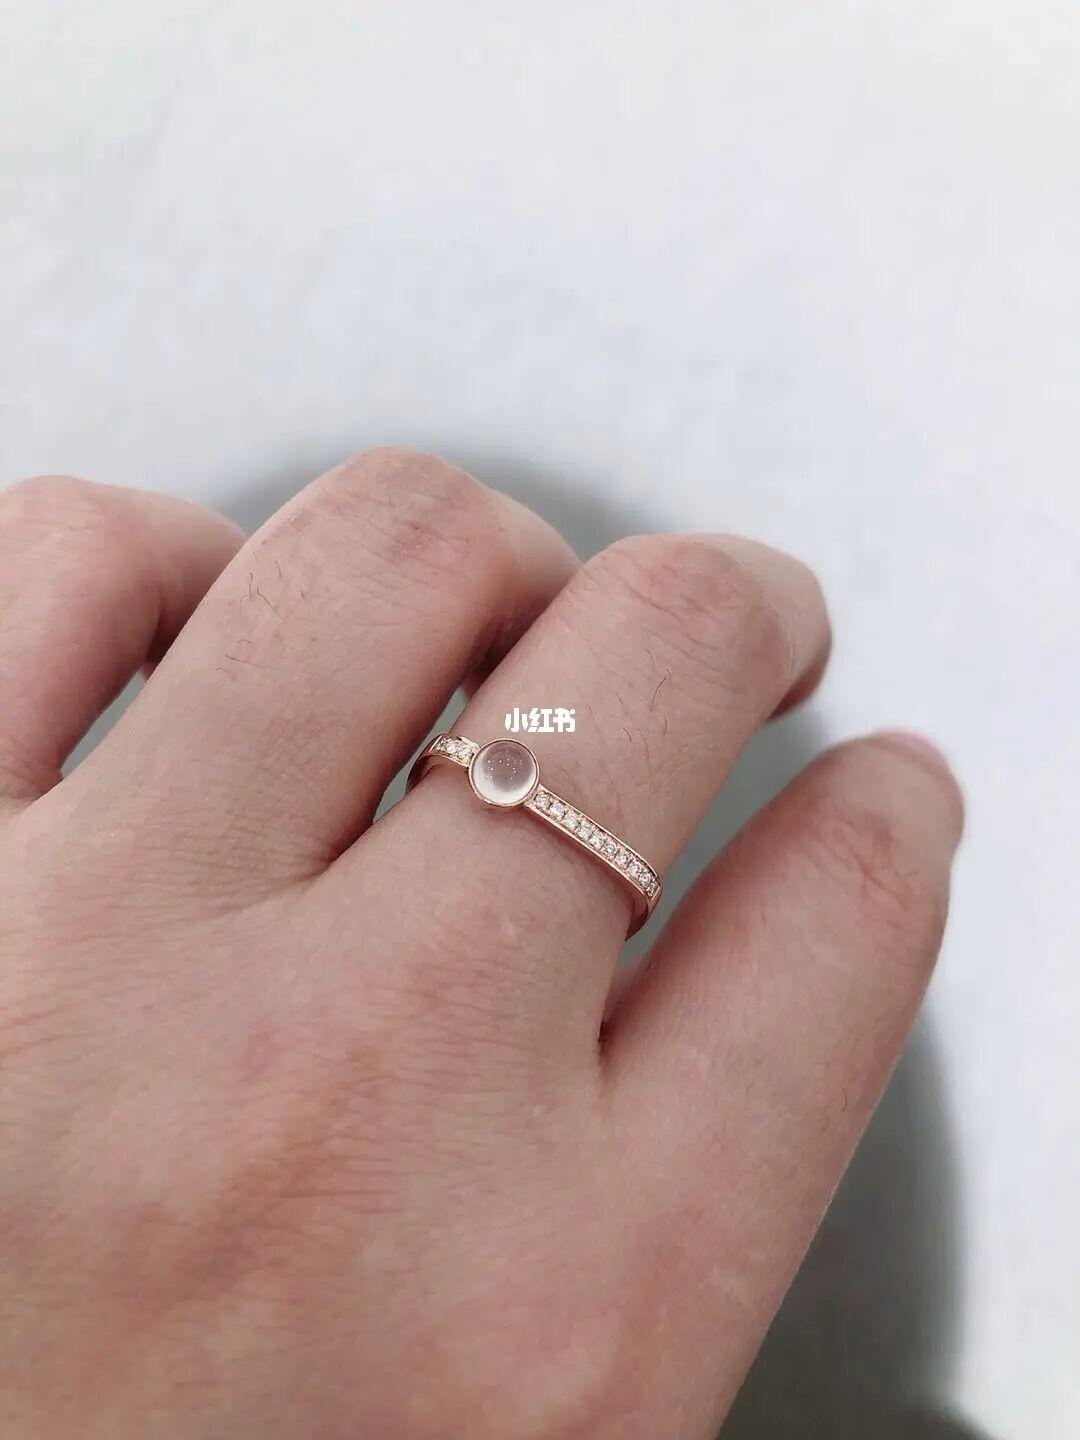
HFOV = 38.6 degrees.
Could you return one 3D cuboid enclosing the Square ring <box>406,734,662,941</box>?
[{"bbox_3d":[0.014,0.071,1.211,0.133,0.154,0.152,24,80,33],"label":"Square ring"}]
